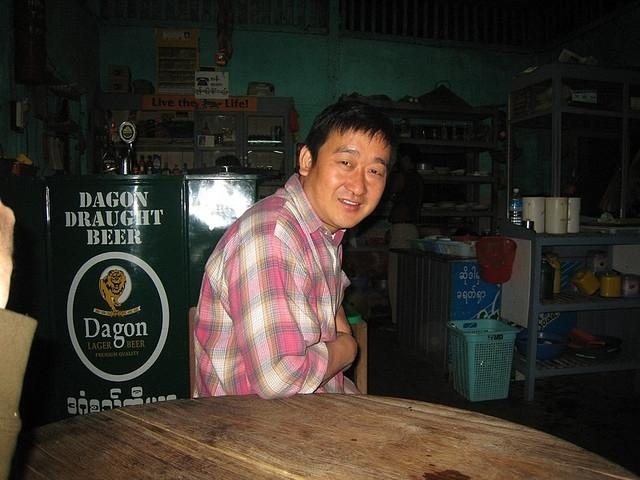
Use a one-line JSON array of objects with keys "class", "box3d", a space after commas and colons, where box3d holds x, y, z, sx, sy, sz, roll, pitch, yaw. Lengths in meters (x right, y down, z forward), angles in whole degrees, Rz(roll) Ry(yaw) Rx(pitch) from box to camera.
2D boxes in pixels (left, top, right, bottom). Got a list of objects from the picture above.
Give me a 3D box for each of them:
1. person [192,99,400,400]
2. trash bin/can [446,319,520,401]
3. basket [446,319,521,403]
[{"class": "person", "box3d": [-0.122, 0.081, 2.397, 0.573, 1.380, 0.877, 10, 16, 41]}, {"class": "trash bin/can", "box3d": [1.337, 0.991, 4.489, 0.516, 0.624, 0.437, 0, 12, 5]}, {"class": "basket", "box3d": [1.266, 1.011, 4.523, 0.559, 0.562, 0.694, 0, 0, 0]}]
